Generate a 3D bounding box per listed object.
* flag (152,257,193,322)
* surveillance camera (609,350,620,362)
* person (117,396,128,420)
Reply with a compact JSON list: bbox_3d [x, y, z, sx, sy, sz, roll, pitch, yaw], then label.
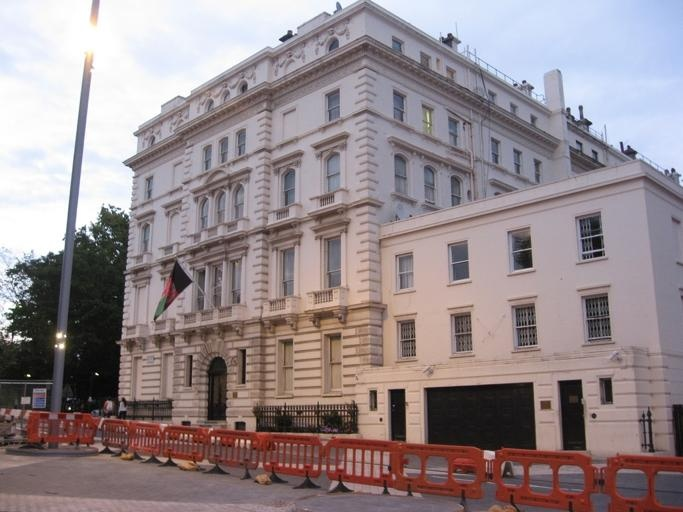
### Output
[{"bbox_3d":[-9.909,1.912,36.346,1.742,3.850,3.113,7,-20,-18],"label":"flag"},{"bbox_3d":[10.871,3.967,24.241,0.428,0.421,0.225,-8,-21,25],"label":"surveillance camera"},{"bbox_3d":[-16.336,11.429,45.950,0.655,1.623,1.894,8,-20,-19],"label":"person"}]
